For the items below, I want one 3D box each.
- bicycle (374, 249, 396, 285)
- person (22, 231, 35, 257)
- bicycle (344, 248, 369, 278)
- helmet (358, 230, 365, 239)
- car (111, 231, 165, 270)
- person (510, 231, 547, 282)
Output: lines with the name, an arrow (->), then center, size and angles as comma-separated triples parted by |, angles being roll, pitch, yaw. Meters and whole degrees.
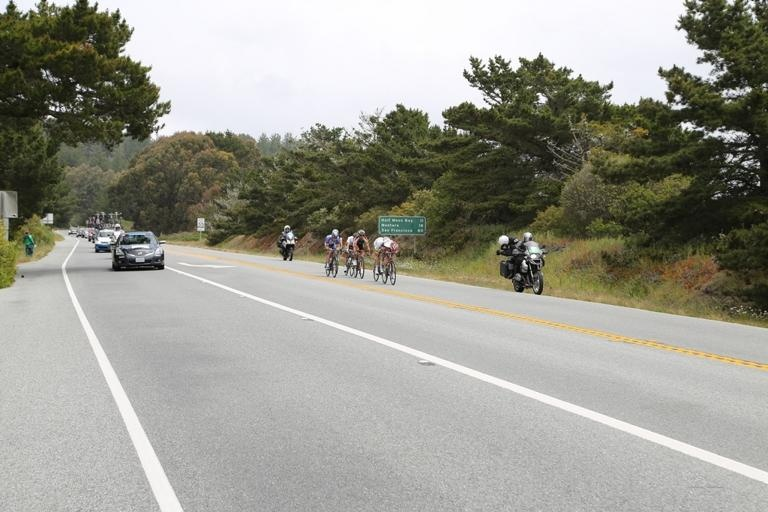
bicycle -> 0.228, 0.443, 24.921 | 0.666, 0.990, 1.515 | 2, -2, -16
person -> -24.274, -0.719, 41.784 | 0.489, 1.586, 2.018 | -2, 5, -34
bicycle -> -1.180, 0.365, 28.180 | 0.719, 0.965, 1.492 | 0, 3, -27
helmet -> -0.937, -0.939, 26.991 | 0.251, 0.395, 0.323 | 2, 9, -11
car -> -12.254, -0.243, 30.405 | 2.169, 1.816, 2.569 | -2, 5, -32
person -> 5.143, 0.051, 21.926 | 0.566, 1.697, 1.387 | -1, 4, -20
